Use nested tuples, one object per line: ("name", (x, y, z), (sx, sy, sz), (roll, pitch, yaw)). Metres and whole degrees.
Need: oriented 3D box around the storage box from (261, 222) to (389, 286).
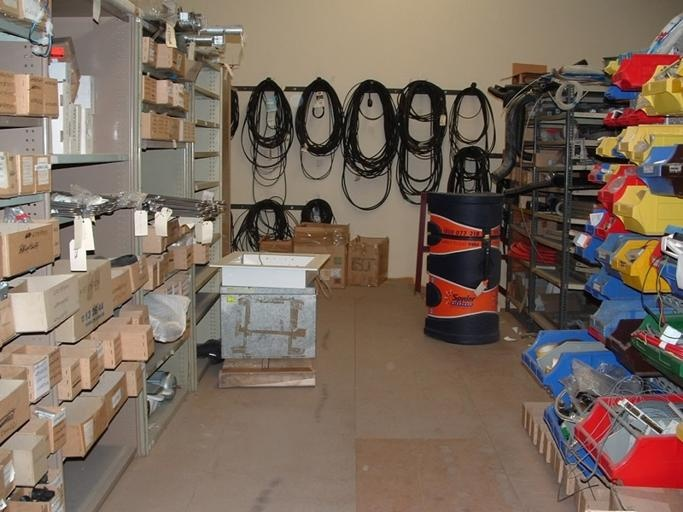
("storage box", (-0.085, 0.003, 6.251), (1.466, 0.742, 0.496), (-1, 12, -11))
